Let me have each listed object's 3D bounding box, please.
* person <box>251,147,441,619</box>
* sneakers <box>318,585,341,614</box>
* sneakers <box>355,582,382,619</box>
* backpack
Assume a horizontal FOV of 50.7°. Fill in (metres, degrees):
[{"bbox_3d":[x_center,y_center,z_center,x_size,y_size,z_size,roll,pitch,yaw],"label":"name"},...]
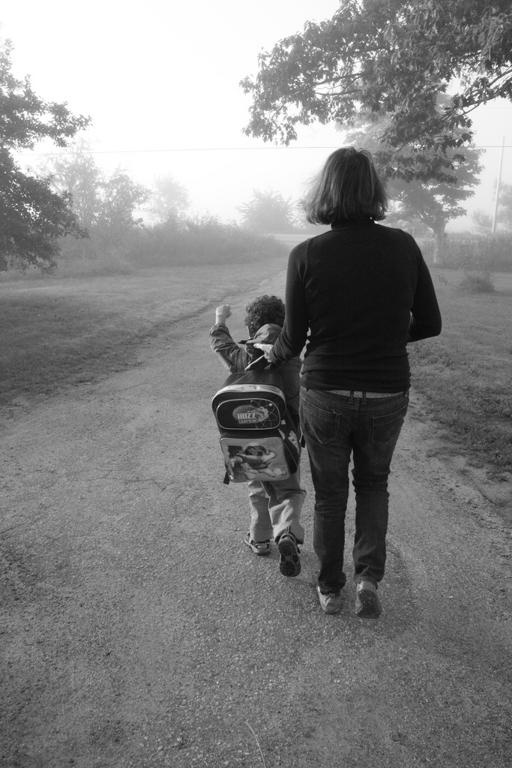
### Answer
[{"bbox_3d":[0.420,0.055,2.452,0.707,2.142,0.404,3,13,18],"label":"person"},{"bbox_3d":[0.357,1.062,2.622,0.075,0.165,0.063,-4,-27,4],"label":"sneakers"},{"bbox_3d":[0.501,0.973,2.491,0.094,0.201,0.130,-11,11,16],"label":"sneakers"},{"bbox_3d":[-0.002,0.141,2.816,0.434,0.718,0.378,-4,21,17],"label":"backpack"}]
